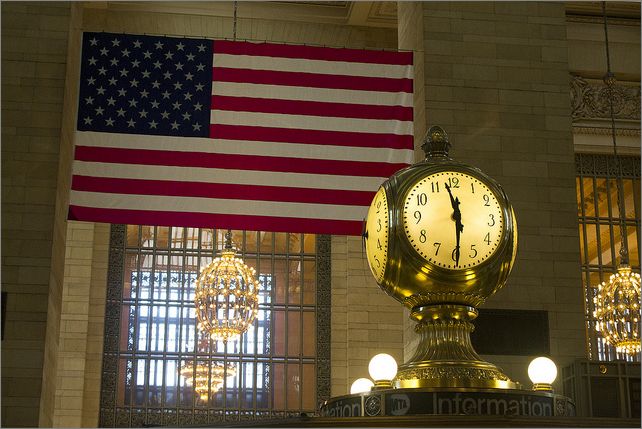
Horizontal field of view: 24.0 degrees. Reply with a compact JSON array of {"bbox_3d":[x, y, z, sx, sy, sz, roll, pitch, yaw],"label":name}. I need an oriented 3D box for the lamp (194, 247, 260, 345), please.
[{"bbox_3d":[-1.906,1.601,29.849,1.367,1.685,1.264,-3,8,-33],"label":"lamp"}]

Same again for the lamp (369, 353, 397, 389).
[{"bbox_3d":[0.768,1.885,18.407,0.344,0.540,0.575,-1,-19,1],"label":"lamp"}]

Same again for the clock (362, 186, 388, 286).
[{"bbox_3d":[0.669,0.258,18.210,0.236,1.095,0.492,5,-20,-16],"label":"clock"}]

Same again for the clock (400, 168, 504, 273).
[{"bbox_3d":[1.560,0.137,18.066,1.272,1.191,0.087,2,-10,-7],"label":"clock"}]

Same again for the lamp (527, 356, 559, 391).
[{"bbox_3d":[2.709,1.910,18.340,0.331,0.489,0.406,-3,-19,7],"label":"lamp"}]

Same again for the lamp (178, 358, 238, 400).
[{"bbox_3d":[-2.374,3.253,31.019,0.936,0.606,0.902,0,-25,2],"label":"lamp"}]

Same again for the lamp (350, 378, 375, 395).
[{"bbox_3d":[0.516,2.113,18.873,0.211,0.238,0.211,13,-26,-3],"label":"lamp"}]
